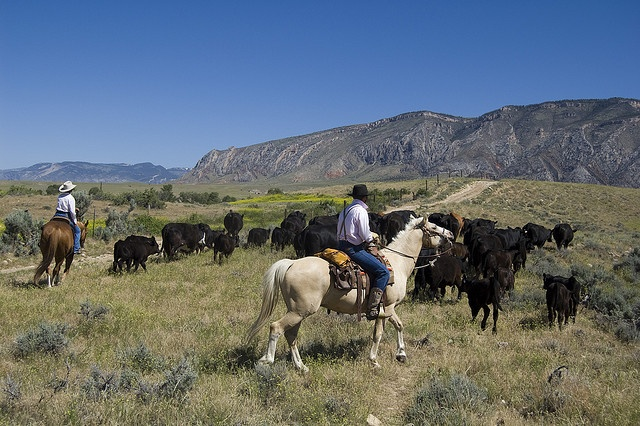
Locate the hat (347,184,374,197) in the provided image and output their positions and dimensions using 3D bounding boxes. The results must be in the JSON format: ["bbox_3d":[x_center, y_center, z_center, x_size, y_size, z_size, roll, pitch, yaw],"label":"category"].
[{"bbox_3d":[1.274,-0.651,13.759,0.588,0.234,0.543,2,-2,-35],"label":"hat"}]

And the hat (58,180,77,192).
[{"bbox_3d":[-10.195,-0.990,19.049,0.663,0.228,0.609,-17,36,-5],"label":"hat"}]

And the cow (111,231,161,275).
[{"bbox_3d":[-9.093,2.075,22.962,1.462,1.855,2.564,2,9,-6],"label":"cow"}]

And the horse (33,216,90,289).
[{"bbox_3d":[-10.575,1.632,18.812,1.155,2.740,1.946,1,9,-12],"label":"horse"}]
